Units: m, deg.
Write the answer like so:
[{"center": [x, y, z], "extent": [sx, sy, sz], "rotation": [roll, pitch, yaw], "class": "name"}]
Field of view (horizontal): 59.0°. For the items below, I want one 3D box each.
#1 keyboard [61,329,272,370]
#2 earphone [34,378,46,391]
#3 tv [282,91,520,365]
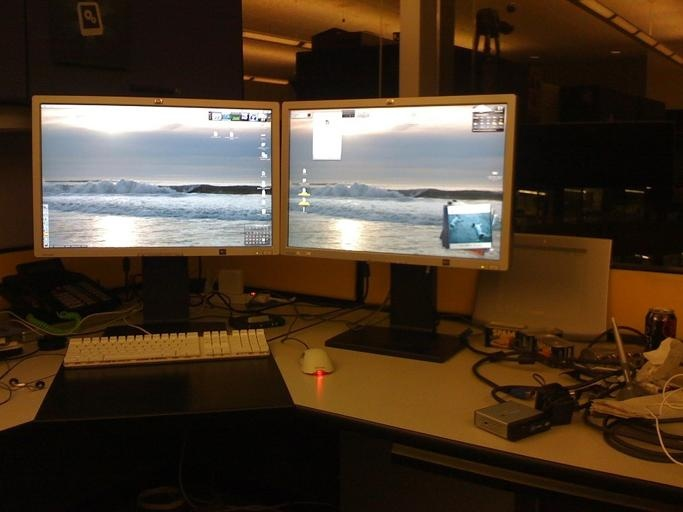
[{"center": [-0.507, 0.263, 1.735], "extent": [0.557, 0.051, 0.154], "rotation": [-1, 18, -12], "class": "keyboard"}, {"center": [-0.784, 0.335, 1.571], "extent": [0.027, 0.013, 0.051], "rotation": [-5, 8, -26], "class": "earphone"}, {"center": [0.133, -0.072, 1.752], "extent": [0.785, 0.734, 0.203], "rotation": [5, 11, 26], "class": "tv"}]
